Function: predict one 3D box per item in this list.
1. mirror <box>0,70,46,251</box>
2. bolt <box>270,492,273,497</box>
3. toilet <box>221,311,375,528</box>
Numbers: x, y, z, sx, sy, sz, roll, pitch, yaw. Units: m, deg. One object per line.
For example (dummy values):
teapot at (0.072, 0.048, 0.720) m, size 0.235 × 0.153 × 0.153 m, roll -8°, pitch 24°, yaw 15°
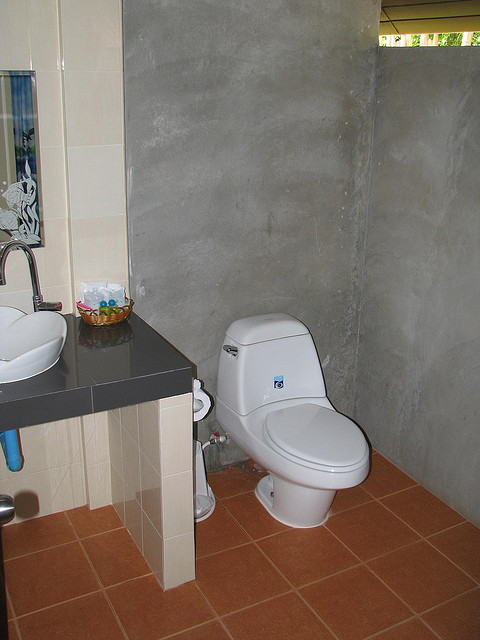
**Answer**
mirror at (-0.653, -0.465, 1.483) m, size 0.130 × 0.506 × 0.111 m, roll -5°, pitch 14°, yaw -28°
bolt at (0.134, 0.741, 2.122) m, size 0.013 × 0.019 × 0.019 m, roll -1°, pitch 3°, yaw 3°
toilet at (0.234, 0.437, 1.979) m, size 0.405 × 0.811 × 0.680 m, roll -14°, pitch 23°, yaw -27°
